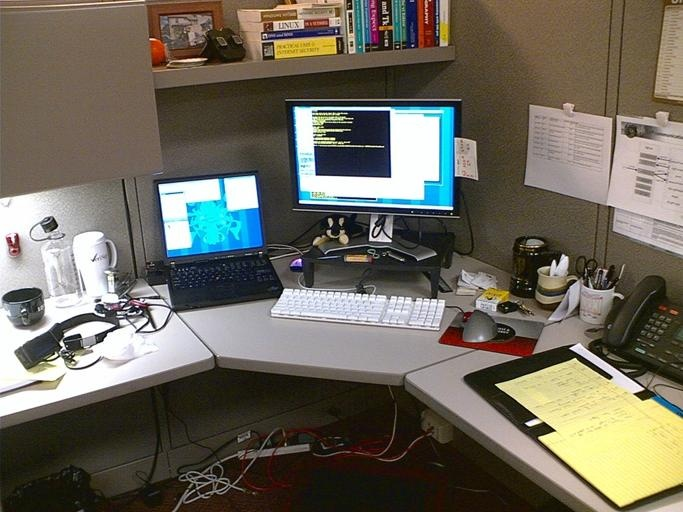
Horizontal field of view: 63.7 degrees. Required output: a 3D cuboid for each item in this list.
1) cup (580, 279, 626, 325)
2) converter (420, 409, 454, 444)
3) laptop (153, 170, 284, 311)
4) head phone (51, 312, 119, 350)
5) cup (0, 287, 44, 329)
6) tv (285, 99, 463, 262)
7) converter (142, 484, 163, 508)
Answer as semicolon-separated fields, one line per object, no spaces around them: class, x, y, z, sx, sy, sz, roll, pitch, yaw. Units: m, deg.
cup;0.789;0.148;1.736;0.155;0.124;0.098;12;28;36
converter;0.427;0.768;2.494;0.077;0.088;0.147;-12;21;-28
laptop;-0.448;-0.014;2.119;0.507;0.368;0.511;-11;47;-15
head phone;-0.860;0.250;1.787;0.175;0.044;0.164;3;30;20
cup;-1.067;0.176;1.857;0.106;0.074;0.161;-8;30;-22
tv;0.124;-0.283;1.981;0.723;0.424;0.031;5;20;18
converter;-0.766;0.967;2.221;0.080;0.085;0.070;14;17;42
